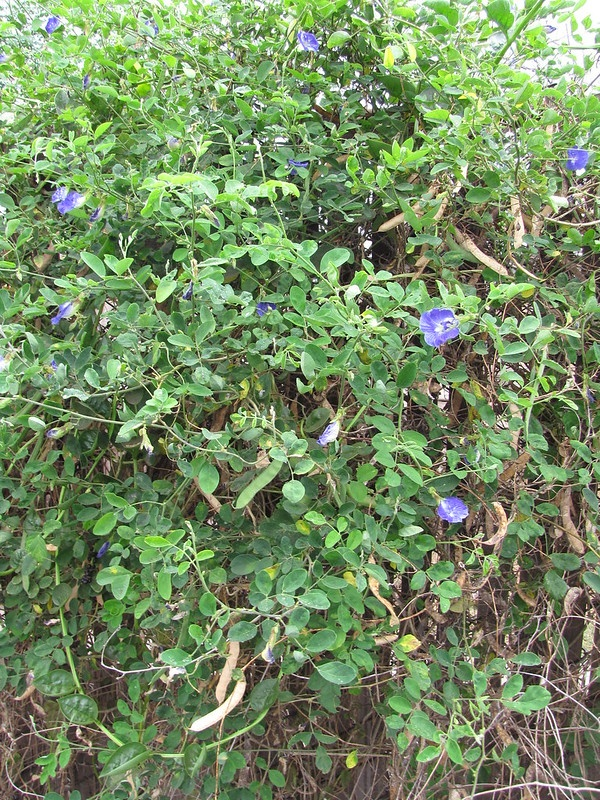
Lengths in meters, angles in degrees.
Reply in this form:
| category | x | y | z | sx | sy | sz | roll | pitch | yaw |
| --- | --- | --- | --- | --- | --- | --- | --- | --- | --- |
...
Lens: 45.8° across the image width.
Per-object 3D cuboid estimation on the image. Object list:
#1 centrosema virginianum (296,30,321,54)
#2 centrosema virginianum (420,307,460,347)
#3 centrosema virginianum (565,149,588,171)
| category | x | y | z | sx | sy | sz | roll | pitch | yaw |
| --- | --- | --- | --- | --- | --- | --- | --- | --- | --- |
| centrosema virginianum | 0.014 | -0.864 | 1.737 | 0.063 | 0.027 | 0.057 | -3 | 82 | -43 |
| centrosema virginianum | 0.282 | -0.153 | 1.457 | 0.062 | 0.068 | 0.069 | -16 | 49 | -25 |
| centrosema virginianum | 0.678 | -0.588 | 1.743 | 0.063 | 0.054 | 0.021 | 5 | 26 | -2 |
